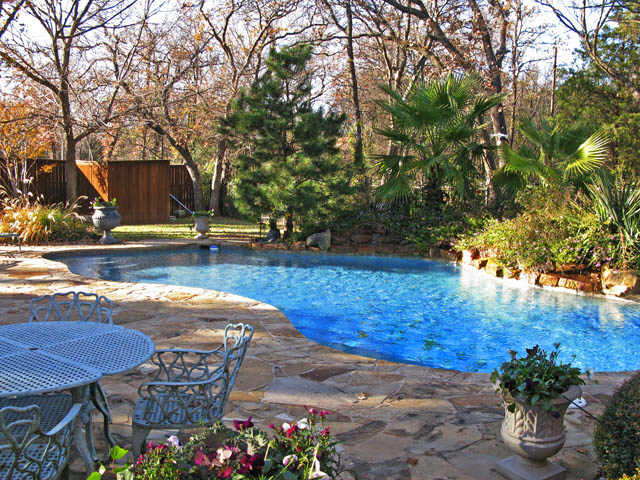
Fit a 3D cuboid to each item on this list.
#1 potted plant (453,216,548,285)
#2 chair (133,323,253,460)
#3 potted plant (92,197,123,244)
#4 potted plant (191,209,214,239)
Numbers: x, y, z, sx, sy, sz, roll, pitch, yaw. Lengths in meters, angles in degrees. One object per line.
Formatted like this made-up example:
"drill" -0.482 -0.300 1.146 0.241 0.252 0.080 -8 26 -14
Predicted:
"potted plant" 4.523 0.238 14.811 1.559 1.064 1.364 -8 14 -36
"chair" -1.436 1.463 6.680 1.246 1.912 1.110 6 6 -12
"potted plant" -6.195 -0.550 17.995 0.708 1.270 0.653 0 3 -16
"potted plant" -4.022 -0.547 20.603 0.860 1.157 0.926 0 4 1
